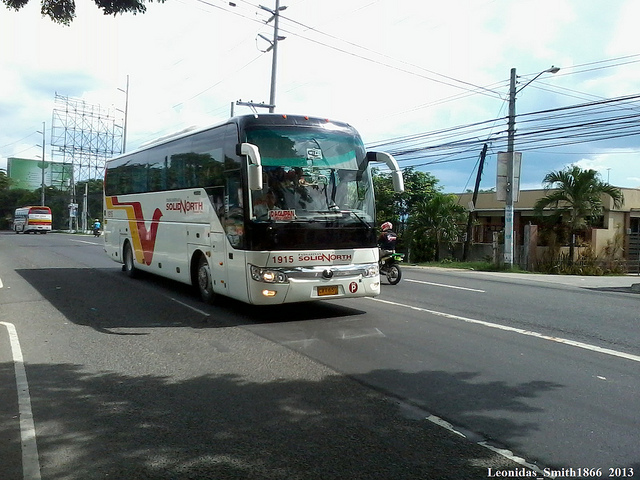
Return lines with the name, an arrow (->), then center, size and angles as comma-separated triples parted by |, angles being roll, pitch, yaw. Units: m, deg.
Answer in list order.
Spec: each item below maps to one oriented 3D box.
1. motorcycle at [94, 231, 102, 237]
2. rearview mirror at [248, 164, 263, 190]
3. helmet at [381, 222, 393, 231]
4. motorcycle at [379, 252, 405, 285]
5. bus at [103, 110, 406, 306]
motorcycle -> -21.818, -0.607, 48.252 | 0.623, 0.388, 0.854 | 0, -11, -15
rearview mirror -> -1.151, -1.115, 8.694 | 0.210, 0.435, 0.270 | -1, 5, -14
helmet -> 2.022, -0.429, 15.254 | 0.325, 0.175, 0.438 | 0, 0, -18
motorcycle -> 2.255, 0.824, 15.241 | 0.626, 0.765, 1.217 | 0, 5, -33
bus -> -2.540, -0.586, 13.671 | 3.613, 4.042, 10.264 | 0, 0, -35
